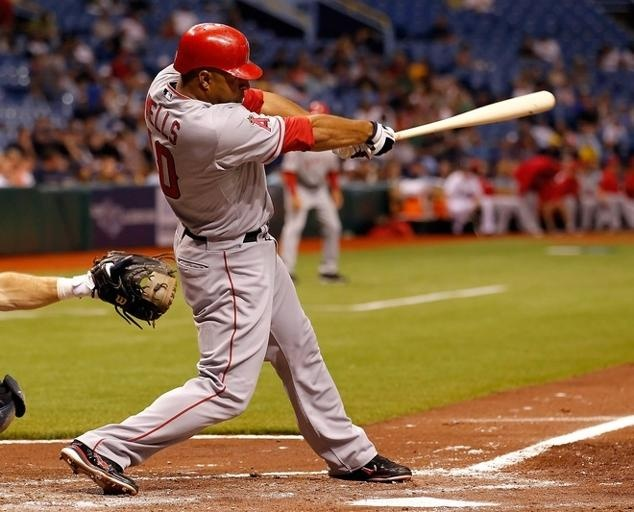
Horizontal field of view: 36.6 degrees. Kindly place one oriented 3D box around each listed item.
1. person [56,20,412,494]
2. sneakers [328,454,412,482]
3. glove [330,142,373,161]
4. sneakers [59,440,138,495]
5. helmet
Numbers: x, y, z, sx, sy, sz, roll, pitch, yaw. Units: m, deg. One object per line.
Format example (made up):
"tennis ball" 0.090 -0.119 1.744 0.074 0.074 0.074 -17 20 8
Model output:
"person" -0.420 0.034 4.858 1.611 2.378 0.364 -2 9 -14
"sneakers" 0.284 1.132 5.158 0.407 0.143 0.147 -4 -6 7
"glove" 0.194 -0.543 4.999 0.146 0.062 0.104 2 5 29
"sneakers" -1.087 1.064 4.805 0.299 0.106 0.152 38 50 -3
"helmet" -0.490 -1.044 4.781 0.491 0.211 0.309 7 31 -5
